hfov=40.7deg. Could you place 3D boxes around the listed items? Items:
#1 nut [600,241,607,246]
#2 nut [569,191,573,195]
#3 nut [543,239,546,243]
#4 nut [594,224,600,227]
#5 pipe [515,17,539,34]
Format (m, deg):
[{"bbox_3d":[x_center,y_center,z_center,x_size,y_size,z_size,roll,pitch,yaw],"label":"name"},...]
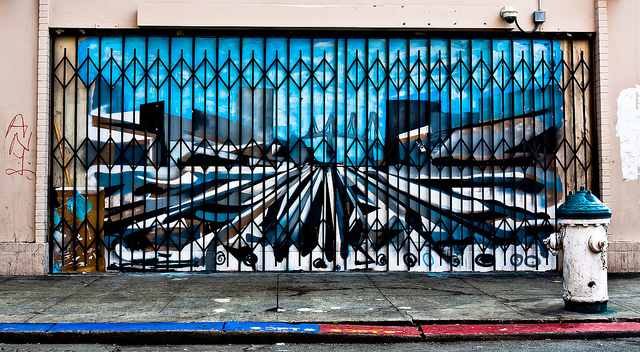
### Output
[{"bbox_3d":[6.900,1.631,20.953,0.186,0.109,0.035,-1,-2,-26],"label":"nut"},{"bbox_3d":[6.876,0.451,23.588,0.057,0.060,0.102,2,-2,-35],"label":"nut"},{"bbox_3d":[5.665,1.633,21.705,0.112,0.092,0.044,1,9,10],"label":"nut"},{"bbox_3d":[6.761,1.201,21.017,0.127,0.063,0.025,-1,-2,-10],"label":"nut"},{"bbox_3d":[5.860,-4.306,24.559,0.735,0.405,0.228,-1,-2,-14],"label":"pipe"}]
